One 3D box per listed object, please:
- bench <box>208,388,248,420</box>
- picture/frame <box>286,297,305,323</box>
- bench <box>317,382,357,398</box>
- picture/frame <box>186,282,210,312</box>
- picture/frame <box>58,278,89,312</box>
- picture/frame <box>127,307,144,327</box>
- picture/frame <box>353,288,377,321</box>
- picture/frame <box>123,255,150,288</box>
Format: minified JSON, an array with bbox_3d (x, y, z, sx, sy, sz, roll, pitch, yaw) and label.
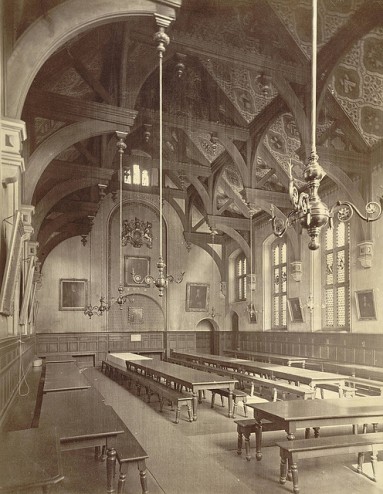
[{"bbox_3d":[0.687,2.867,9.166,0.640,0.467,1.836,-2,-13,2],"label":"bench"},{"bbox_3d":[3.175,1.895,14.946,0.055,0.738,0.612,-3,-12,-15],"label":"picture/frame"},{"bbox_3d":[2.749,2.681,9.303,0.562,0.374,3.226,-5,-14,16],"label":"bench"},{"bbox_3d":[0.222,2.079,20.491,0.840,1.343,0.070,5,-10,-28],"label":"picture/frame"},{"bbox_3d":[-4.276,1.731,17.738,0.821,1.259,0.112,4,-13,-27],"label":"picture/frame"},{"bbox_3d":[-2.211,2.728,19.334,0.508,0.691,0.076,11,-20,-35],"label":"picture/frame"},{"bbox_3d":[3.802,1.246,10.717,0.060,0.808,0.580,-1,-5,-13],"label":"picture/frame"},{"bbox_3d":[-2.041,0.877,17.985,0.864,1.257,0.166,9,-15,-39],"label":"picture/frame"}]
